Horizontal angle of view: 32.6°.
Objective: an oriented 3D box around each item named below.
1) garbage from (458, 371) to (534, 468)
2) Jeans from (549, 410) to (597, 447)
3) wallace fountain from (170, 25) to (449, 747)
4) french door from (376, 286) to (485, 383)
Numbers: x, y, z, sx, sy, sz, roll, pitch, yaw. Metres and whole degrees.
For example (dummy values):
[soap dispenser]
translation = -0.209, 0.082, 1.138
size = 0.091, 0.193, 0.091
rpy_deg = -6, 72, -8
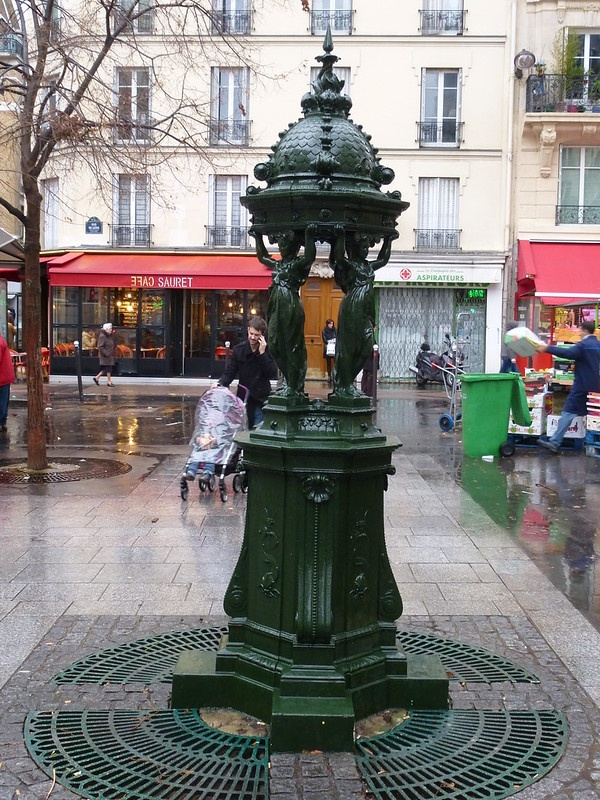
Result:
[garbage]
translation = 2.353, 0.182, 12.792
size = 1.042, 1.360, 0.825
rpy_deg = -1, 8, -2
[Jeans]
translation = 3.584, 0.386, 13.662
size = 0.489, 0.312, 0.474
rpy_deg = 0, 1, 23
[wallace fountain]
translation = 0.076, -0.110, 4.587
size = 1.093, 3.078, 0.988
rpy_deg = 0, 6, -6
[french door]
translation = 3.574, -1.854, 27.427
size = 2.680, 2.416, 0.219
rpy_deg = 0, 1, 2
